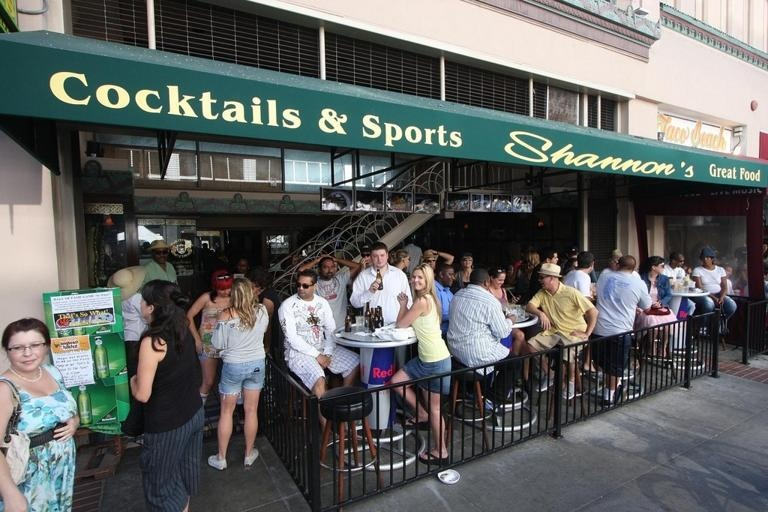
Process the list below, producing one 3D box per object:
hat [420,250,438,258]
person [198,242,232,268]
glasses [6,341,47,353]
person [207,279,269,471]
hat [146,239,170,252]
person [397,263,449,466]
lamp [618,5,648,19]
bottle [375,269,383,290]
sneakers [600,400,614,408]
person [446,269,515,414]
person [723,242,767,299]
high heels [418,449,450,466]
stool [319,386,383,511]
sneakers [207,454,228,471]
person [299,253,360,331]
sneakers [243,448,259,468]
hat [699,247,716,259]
[{"bbox_3d":[0.883,-0.037,11.163,0.229,0.136,0.301,-2,4,0],"label":"hat"},{"bbox_3d":[-4.847,-0.005,15.919,0.676,0.324,0.846,4,10,-28],"label":"person"},{"bbox_3d":[-3.972,1.013,6.241,0.361,0.086,0.058,-5,3,-24],"label":"glasses"},{"bbox_3d":[-2.028,1.621,7.860,0.887,2.626,0.288,-5,4,-16],"label":"person"},{"bbox_3d":[-4.613,-0.208,11.353,0.373,0.152,0.408,2,-14,-38],"label":"hat"},{"bbox_3d":[0.537,1.491,8.024,0.814,2.750,1.130,-5,3,-9],"label":"person"},{"bbox_3d":[5.645,-5.498,12.661,0.459,0.105,0.429,2,3,14],"label":"lamp"},{"bbox_3d":[-0.072,0.381,8.975,0.099,0.312,0.123,-4,3,-2],"label":"bottle"},{"bbox_3d":[3.542,2.351,8.931,0.151,0.052,0.149,0,1,-37],"label":"sneakers"},{"bbox_3d":[1.472,1.298,8.375,0.867,2.257,1.393,-1,4,36],"label":"person"},{"bbox_3d":[7.798,0.298,11.973,0.317,1.168,1.266,0,10,12],"label":"person"},{"bbox_3d":[0.678,2.821,7.787,0.378,0.121,0.212,5,2,26],"label":"high heels"},{"bbox_3d":[-0.470,2.475,7.500,0.797,1.538,0.912,-4,3,-8],"label":"stool"},{"bbox_3d":[-2.343,2.850,7.863,0.296,0.128,0.147,16,25,29],"label":"sneakers"},{"bbox_3d":[-0.876,0.616,9.069,0.915,1.463,0.415,-20,13,-41],"label":"person"},{"bbox_3d":[-1.878,2.829,7.928,0.105,0.113,0.268,10,29,13],"label":"sneakers"},{"bbox_3d":[6.861,-0.063,11.947,0.399,0.247,0.278,-13,10,-38],"label":"hat"}]
